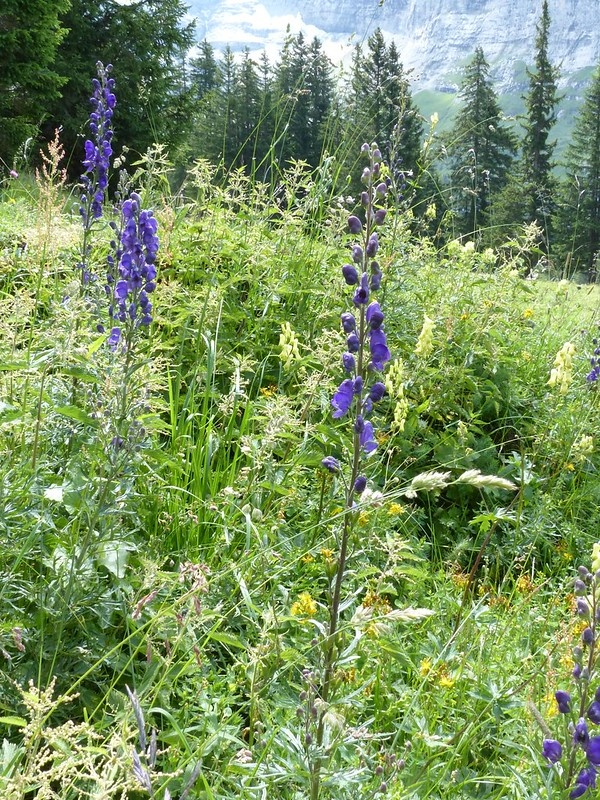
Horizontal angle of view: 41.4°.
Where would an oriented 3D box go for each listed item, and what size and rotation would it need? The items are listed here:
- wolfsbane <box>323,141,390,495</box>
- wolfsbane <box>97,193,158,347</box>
[{"bbox_3d":[0.210,-0.201,2.381,0.192,1.316,0.222,-6,11,-27],"label":"wolfsbane"},{"bbox_3d":[-0.607,-0.464,2.906,0.183,0.595,0.551,-2,22,-13],"label":"wolfsbane"}]
